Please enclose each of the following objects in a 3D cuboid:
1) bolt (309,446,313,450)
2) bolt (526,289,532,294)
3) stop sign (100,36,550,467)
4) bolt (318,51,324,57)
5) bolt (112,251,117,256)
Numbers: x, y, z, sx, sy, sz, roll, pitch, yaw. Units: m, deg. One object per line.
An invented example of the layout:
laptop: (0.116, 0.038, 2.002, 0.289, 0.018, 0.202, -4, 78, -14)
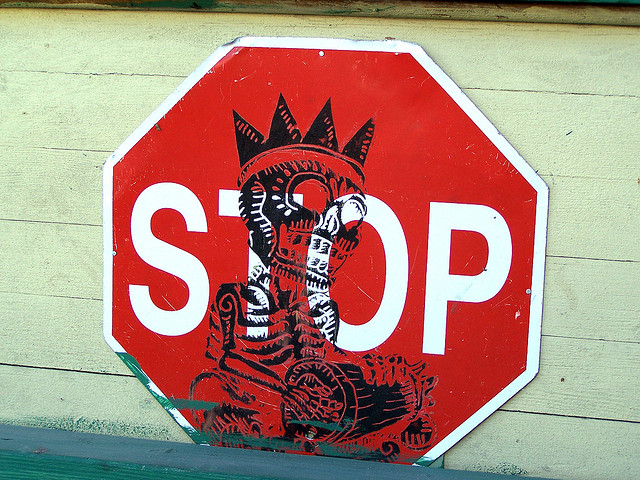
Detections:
bolt: (-0.023, 0.463, 3.109, 0.010, 0.002, 0.008, 6, 87, 6)
bolt: (0.462, 0.110, 3.064, 0.013, 0.003, 0.010, 1, 94, 10)
stop sign: (-0.009, 0.039, 3.118, 1.210, 0.063, 0.962, 4, 99, 33)
bolt: (0.001, -0.412, 3.048, 0.015, 0.003, 0.012, 1, 92, -4)
bolt: (-0.468, 0.027, 3.124, 0.013, 0.004, 0.011, 0, 90, 8)
